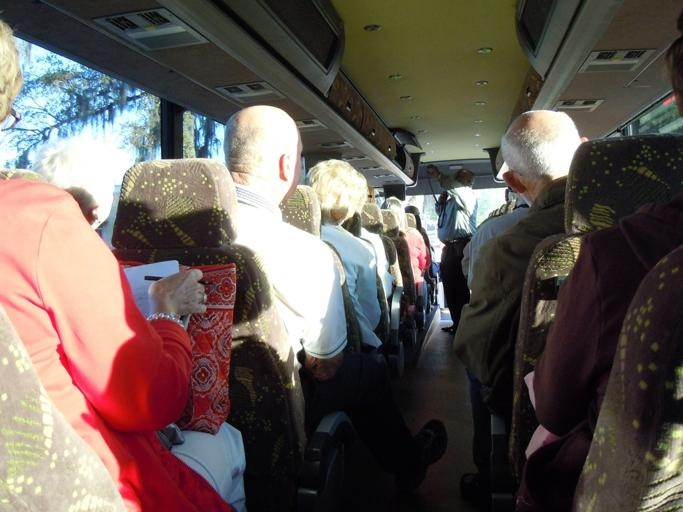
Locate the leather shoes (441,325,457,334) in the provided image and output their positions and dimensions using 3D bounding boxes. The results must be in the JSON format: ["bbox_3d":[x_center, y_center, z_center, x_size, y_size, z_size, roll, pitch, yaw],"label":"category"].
[{"bbox_3d":[1.312,0.913,6.047,0.074,0.106,0.230,14,-2,-13],"label":"leather shoes"}]

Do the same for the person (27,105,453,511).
[{"bbox_3d":[-0.287,0.126,2.557,0.933,2.132,1.563,-2,2,25],"label":"person"}]

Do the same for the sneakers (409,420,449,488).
[{"bbox_3d":[0.448,0.991,2.520,0.124,0.155,0.391,-2,42,28],"label":"sneakers"}]
